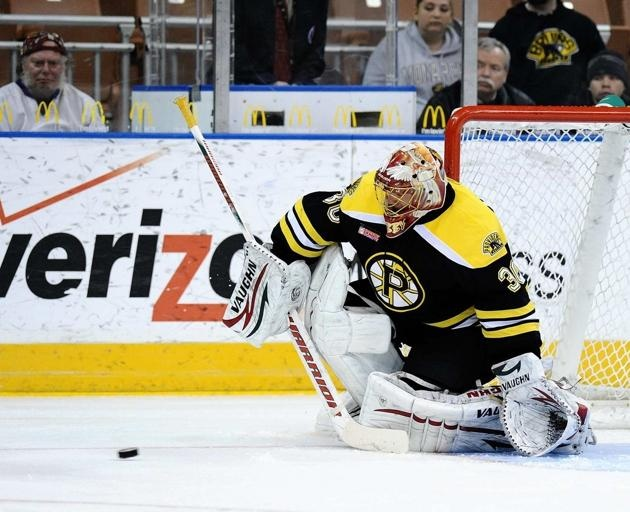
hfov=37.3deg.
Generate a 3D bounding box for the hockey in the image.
[{"bbox_3d":[-0.129,0.134,4.053,0.259,1.622,0.188,-20,-14,-37],"label":"hockey"}]

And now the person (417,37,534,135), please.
[{"bbox_3d":[0.808,-0.887,4.891,0.589,0.732,0.268,0,-7,5],"label":"person"}]
